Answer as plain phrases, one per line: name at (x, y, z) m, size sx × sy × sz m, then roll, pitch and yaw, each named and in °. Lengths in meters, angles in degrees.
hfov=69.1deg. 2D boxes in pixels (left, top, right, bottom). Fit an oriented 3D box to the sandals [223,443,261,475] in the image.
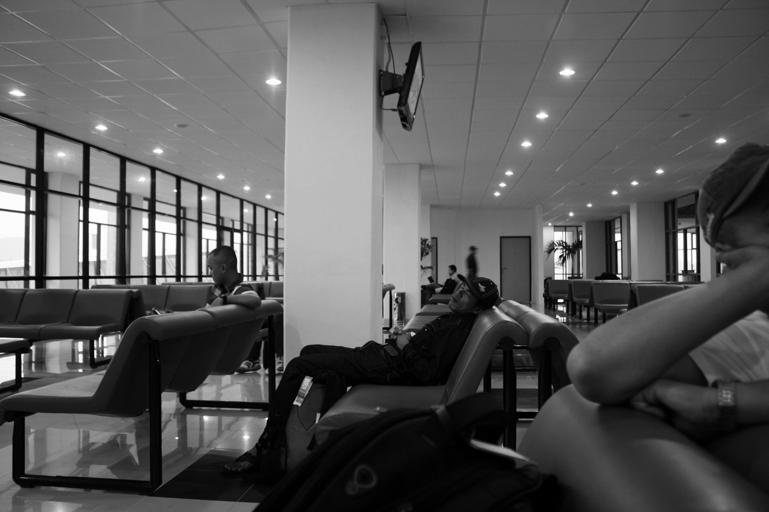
sandals at (-0.986, 1.405, 3.806) m, size 0.225 × 0.112 × 0.291 m, roll 1°, pitch -8°, yaw 16°
